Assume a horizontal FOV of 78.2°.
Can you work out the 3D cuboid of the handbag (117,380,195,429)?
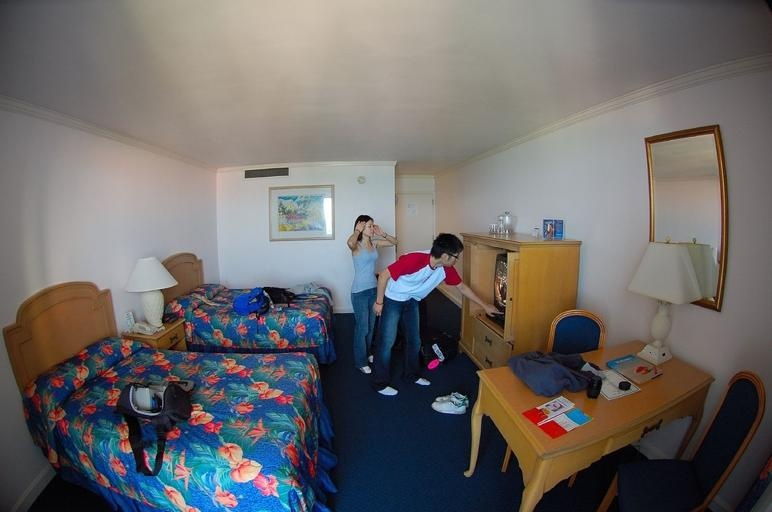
[{"bbox_3d":[-1.845,1.139,4.006,0.432,0.248,0.547,-1,-4,19],"label":"handbag"}]

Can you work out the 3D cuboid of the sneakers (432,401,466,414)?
[{"bbox_3d":[0.602,1.449,4.606,0.323,0.132,0.121,3,0,3],"label":"sneakers"}]

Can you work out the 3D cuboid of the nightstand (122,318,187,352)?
[{"bbox_3d":[-2.384,0.772,4.936,0.311,0.431,0.449,1,10,3],"label":"nightstand"}]

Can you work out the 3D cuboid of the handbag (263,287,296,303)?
[{"bbox_3d":[-1.259,0.459,5.620,0.247,0.092,0.193,0,13,-20],"label":"handbag"}]

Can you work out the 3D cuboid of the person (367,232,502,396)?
[{"bbox_3d":[0.491,0.566,4.716,1.209,1.697,0.554,6,14,9],"label":"person"}]

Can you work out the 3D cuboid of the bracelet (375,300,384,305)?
[{"bbox_3d":[-0.063,0.451,4.650,0.089,0.059,0.055,-1,7,-4],"label":"bracelet"}]

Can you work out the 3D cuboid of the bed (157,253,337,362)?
[{"bbox_3d":[-1.543,0.523,5.649,1.675,1.075,1.142,-1,13,0],"label":"bed"}]

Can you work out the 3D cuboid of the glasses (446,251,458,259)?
[{"bbox_3d":[0.624,-0.003,4.349,0.171,0.059,0.061,-7,9,-43],"label":"glasses"}]

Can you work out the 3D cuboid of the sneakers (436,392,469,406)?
[{"bbox_3d":[0.643,1.367,4.618,0.344,0.142,0.127,1,-5,7],"label":"sneakers"}]

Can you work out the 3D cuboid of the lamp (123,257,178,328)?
[{"bbox_3d":[-2.455,0.386,4.963,0.478,0.760,0.480,2,13,9],"label":"lamp"}]

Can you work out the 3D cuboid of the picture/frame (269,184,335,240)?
[{"bbox_3d":[-1.171,-0.638,6.456,0.715,0.615,0.049,0,2,-3],"label":"picture/frame"}]

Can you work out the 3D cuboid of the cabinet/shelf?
[{"bbox_3d":[1.290,0.507,5.108,0.710,1.424,1.048,-2,9,-23],"label":"cabinet/shelf"}]

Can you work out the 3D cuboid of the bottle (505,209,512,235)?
[{"bbox_3d":[1.324,-0.342,5.076,0.099,0.212,0.127,-1,7,-3],"label":"bottle"}]

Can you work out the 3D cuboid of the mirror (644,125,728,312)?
[{"bbox_3d":[2.464,-0.305,3.922,0.670,1.460,0.039,-2,1,-3],"label":"mirror"}]
